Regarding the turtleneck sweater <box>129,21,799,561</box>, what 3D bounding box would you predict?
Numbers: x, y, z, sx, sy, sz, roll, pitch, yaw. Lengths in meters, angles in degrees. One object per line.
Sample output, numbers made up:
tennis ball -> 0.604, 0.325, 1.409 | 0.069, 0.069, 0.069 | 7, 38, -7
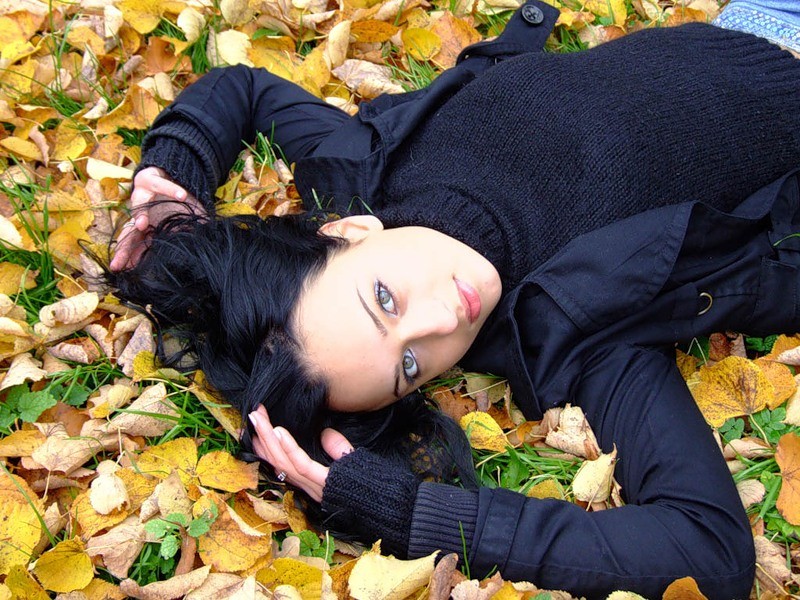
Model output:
turtleneck sweater -> 0.502, -0.207, 3.344 | 2.063, 2.259, 0.723 | 59, 3, 27
